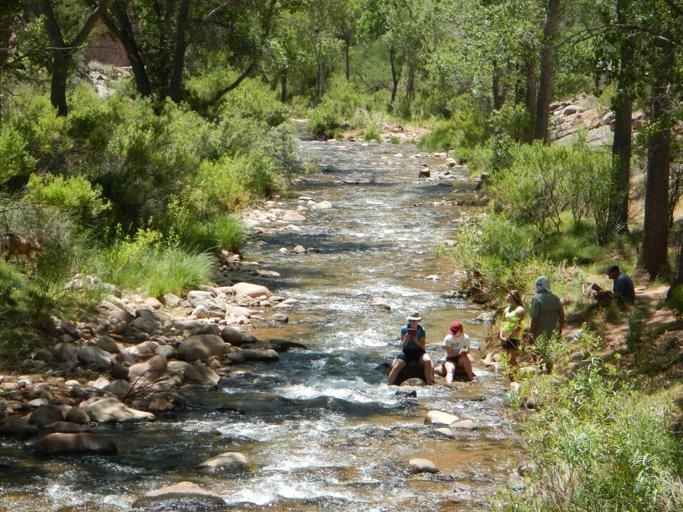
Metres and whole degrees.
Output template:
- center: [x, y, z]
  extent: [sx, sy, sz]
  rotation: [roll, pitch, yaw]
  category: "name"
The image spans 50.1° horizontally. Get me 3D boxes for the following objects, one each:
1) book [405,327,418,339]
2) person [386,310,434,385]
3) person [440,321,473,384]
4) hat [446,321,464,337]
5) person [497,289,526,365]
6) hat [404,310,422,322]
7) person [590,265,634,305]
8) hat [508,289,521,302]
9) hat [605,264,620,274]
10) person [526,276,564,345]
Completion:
- center: [1.266, 1.392, 13.237]
  extent: [0.157, 0.169, 0.053]
  rotation: [-2, 11, 5]
  category: "book"
- center: [1.287, 1.655, 13.110]
  extent: [0.754, 1.192, 0.946]
  rotation: [3, 9, 15]
  category: "person"
- center: [2.055, 1.807, 13.191]
  extent: [0.539, 1.198, 1.212]
  rotation: [-2, 13, 11]
  category: "person"
- center: [2.124, 1.334, 13.560]
  extent: [0.200, 0.170, 0.294]
  rotation: [7, 20, 11]
  category: "hat"
- center: [3.149, 1.302, 13.464]
  extent: [0.413, 1.256, 0.766]
  rotation: [3, 8, 14]
  category: "person"
- center: [1.333, 1.047, 13.445]
  extent: [0.263, 0.134, 0.362]
  rotation: [5, -10, 8]
  category: "hat"
- center: [5.183, 0.546, 14.054]
  extent: [0.749, 1.133, 0.673]
  rotation: [-3, -12, 19]
  category: "person"
- center: [3.263, 0.742, 13.666]
  extent: [0.221, 0.235, 0.174]
  rotation: [8, 3, 31]
  category: "hat"
- center: [5.506, 0.251, 14.876]
  extent: [0.246, 0.145, 0.190]
  rotation: [0, 6, 12]
  category: "hat"
- center: [3.639, 0.995, 13.039]
  extent: [0.563, 1.166, 0.749]
  rotation: [5, 9, 22]
  category: "person"
